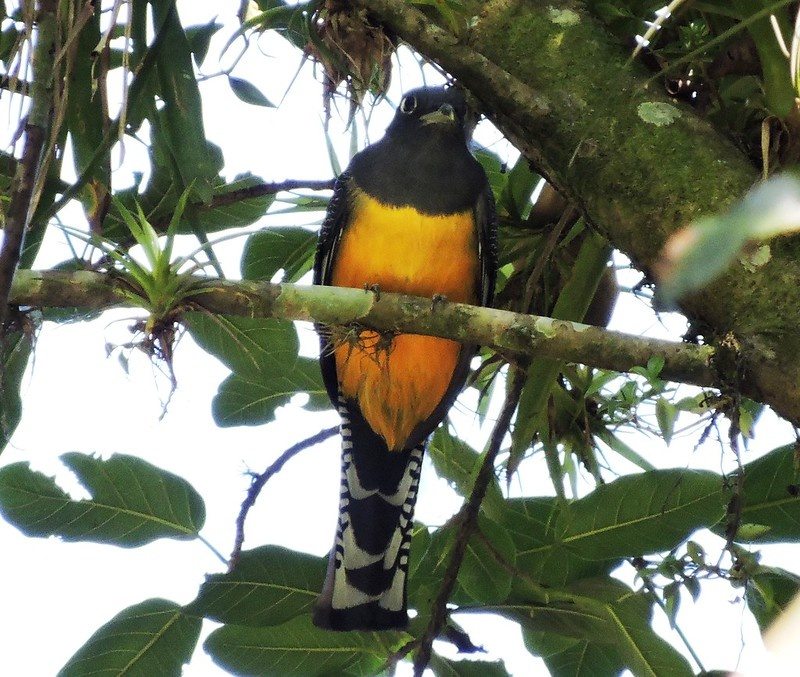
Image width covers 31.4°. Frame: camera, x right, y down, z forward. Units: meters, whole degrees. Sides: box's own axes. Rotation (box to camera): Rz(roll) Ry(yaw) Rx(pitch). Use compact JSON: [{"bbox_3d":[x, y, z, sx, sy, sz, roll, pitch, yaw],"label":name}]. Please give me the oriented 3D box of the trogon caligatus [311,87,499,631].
[{"bbox_3d":[0.009,-0.048,5.500,0.620,0.841,2.180,6,-75,-7],"label":"trogon caligatus"}]
